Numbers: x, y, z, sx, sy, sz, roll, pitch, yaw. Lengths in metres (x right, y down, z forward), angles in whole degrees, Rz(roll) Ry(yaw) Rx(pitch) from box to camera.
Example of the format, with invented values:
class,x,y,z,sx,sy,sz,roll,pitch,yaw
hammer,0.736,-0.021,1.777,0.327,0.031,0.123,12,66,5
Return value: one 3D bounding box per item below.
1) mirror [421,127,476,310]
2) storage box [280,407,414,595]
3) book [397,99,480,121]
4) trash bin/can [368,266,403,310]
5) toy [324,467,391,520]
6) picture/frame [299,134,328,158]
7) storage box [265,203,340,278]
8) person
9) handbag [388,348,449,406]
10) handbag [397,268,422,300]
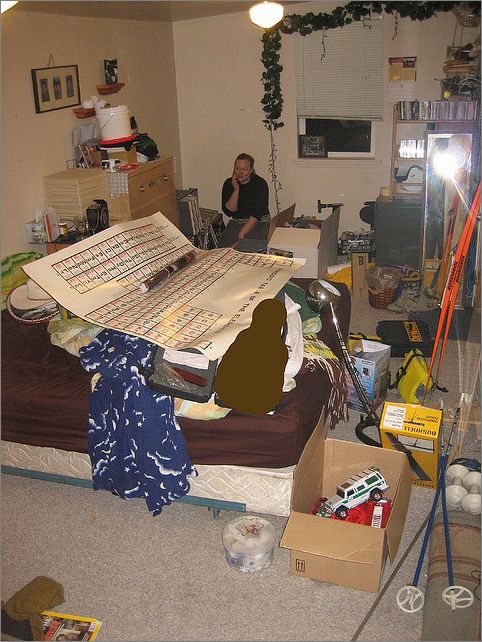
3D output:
class,x,y,z,sx,sy,sz,roll,pitch,yaw
mirror,1.826,-0.939,4.365,0.385,1.463,0.601,3,19,12
storage box,0.462,0.715,2.025,0.483,0.365,0.704,7,40,22
book,1.899,-2.063,4.792,0.754,0.207,0.178,8,21,26
trash bin/can,1.250,-0.328,4.614,0.334,0.389,0.399,9,15,37
toy,0.495,0.731,2.153,0.293,0.134,0.135,-31,4,-12
picture/frame,0.878,-2.115,5.841,0.297,0.256,0.022,4,14,10
storage box,0.566,-0.717,4.355,0.509,0.641,0.958,12,28,23
person,0.020,-1.297,5.212,0.540,0.936,0.636,1,19,5
handbag,1.085,0.367,3.091,0.337,0.328,0.305,-1,23,4
handbag,1.592,-0.387,4.727,0.235,0.323,0.317,6,7,20
